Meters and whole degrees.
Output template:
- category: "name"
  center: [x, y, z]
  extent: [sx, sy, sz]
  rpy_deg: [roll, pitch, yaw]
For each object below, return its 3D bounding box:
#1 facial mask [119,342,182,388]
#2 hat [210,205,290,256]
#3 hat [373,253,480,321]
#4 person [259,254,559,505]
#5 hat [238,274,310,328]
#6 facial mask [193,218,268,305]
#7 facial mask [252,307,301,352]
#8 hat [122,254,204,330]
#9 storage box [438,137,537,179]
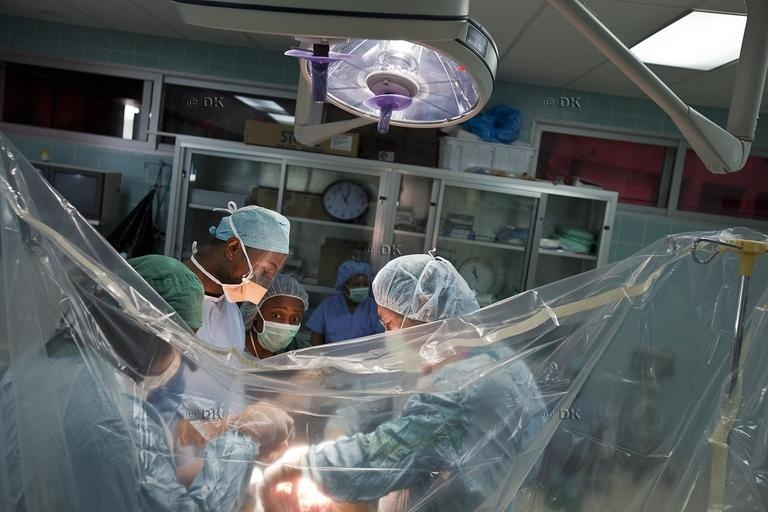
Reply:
- category: "facial mask"
  center: [-0.501, 0.236, 1.409]
  extent: [0.104, 0.083, 0.042]
  rpy_deg: [-27, 15, 4]
- category: "hat"
  center: [-0.480, -0.107, 2.341]
  extent: [0.298, 0.169, 0.232]
  rpy_deg: [4, 5, -7]
- category: "hat"
  center: [0.128, 0.071, 1.962]
  extent: [0.255, 0.139, 0.190]
  rpy_deg: [10, 5, 18]
- category: "person"
  center: [0.155, 0.374, 1.720]
  extent: [0.509, 0.763, 0.577]
  rpy_deg: [19, -16, 24]
- category: "hat"
  center: [-0.488, 0.179, 2.852]
  extent: [0.243, 0.140, 0.245]
  rpy_deg: [-34, -28, 24]
- category: "facial mask"
  center: [-0.552, 0.059, 2.329]
  extent: [0.234, 0.304, 0.155]
  rpy_deg: [-25, -2, -18]
- category: "facial mask"
  center: [-0.462, 0.321, 2.810]
  extent: [0.174, 0.150, 0.182]
  rpy_deg: [15, 10, -40]
- category: "hat"
  center: [-0.609, 0.117, 1.833]
  extent: [0.129, 0.196, 0.274]
  rpy_deg: [-8, -8, 20]
- category: "storage box"
  center: [0.575, -0.577, 3.806]
  extent: [0.390, 0.158, 0.271]
  rpy_deg: [2, 9, -11]
